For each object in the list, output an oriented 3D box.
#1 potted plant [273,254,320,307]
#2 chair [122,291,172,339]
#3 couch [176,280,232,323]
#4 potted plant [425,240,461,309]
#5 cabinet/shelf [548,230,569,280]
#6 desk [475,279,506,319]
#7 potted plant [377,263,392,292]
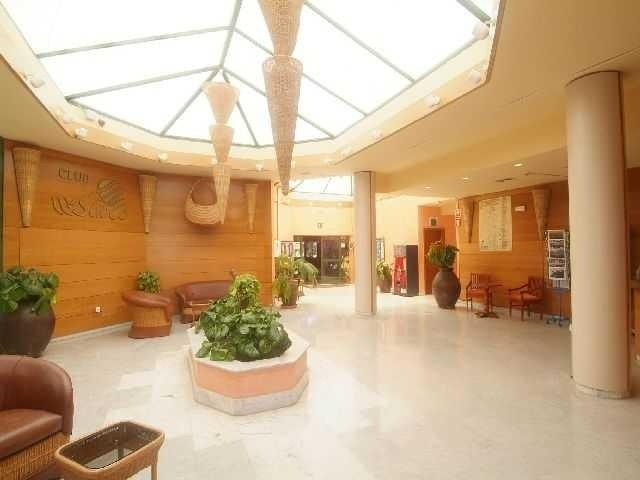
[{"bbox_3d":[-0.814,1.180,11.909,1.298,1.130,1.290,3,-3,-31],"label":"potted plant"},{"bbox_3d":[-3.537,1.499,8.617,0.900,0.875,0.906,-1,2,-11],"label":"chair"},{"bbox_3d":[-2.583,1.464,9.700,1.272,0.805,1.221,-6,8,-40],"label":"couch"},{"bbox_3d":[3.407,0.997,11.301,0.819,1.714,0.529,2,7,24],"label":"potted plant"},{"bbox_3d":[5.322,0.368,9.200,0.316,1.143,0.658,-1,7,-7],"label":"cabinet/shelf"},{"bbox_3d":[4.306,1.499,10.532,0.529,0.829,1.469,2,7,24],"label":"desk"},{"bbox_3d":[2.436,1.433,15.538,0.546,0.953,0.589,0,7,8],"label":"potted plant"}]
